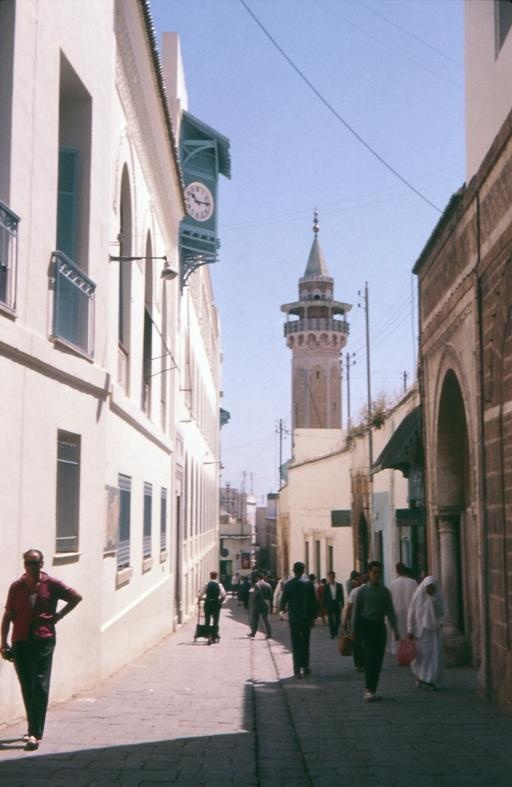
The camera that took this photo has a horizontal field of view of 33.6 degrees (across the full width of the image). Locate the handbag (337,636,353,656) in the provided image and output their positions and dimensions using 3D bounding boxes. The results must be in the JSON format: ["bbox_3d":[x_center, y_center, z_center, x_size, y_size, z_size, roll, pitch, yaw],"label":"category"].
[{"bbox_3d":[1.144,3.219,10.907,0.135,0.392,0.309,0,-2,-3],"label":"handbag"}]

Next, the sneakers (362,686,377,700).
[{"bbox_3d":[1.030,2.732,7.694,0.113,0.109,0.189,-4,-13,8],"label":"sneakers"}]

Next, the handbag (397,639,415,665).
[{"bbox_3d":[1.520,2.618,8.601,0.191,0.248,0.380,-4,-13,11],"label":"handbag"}]
